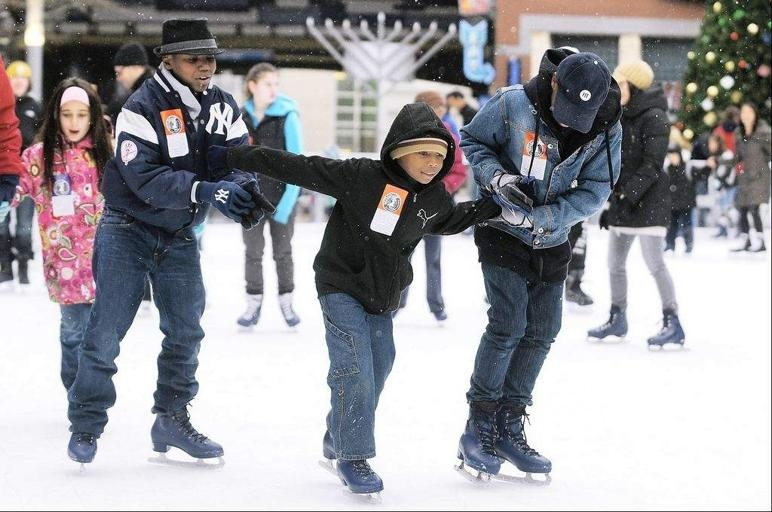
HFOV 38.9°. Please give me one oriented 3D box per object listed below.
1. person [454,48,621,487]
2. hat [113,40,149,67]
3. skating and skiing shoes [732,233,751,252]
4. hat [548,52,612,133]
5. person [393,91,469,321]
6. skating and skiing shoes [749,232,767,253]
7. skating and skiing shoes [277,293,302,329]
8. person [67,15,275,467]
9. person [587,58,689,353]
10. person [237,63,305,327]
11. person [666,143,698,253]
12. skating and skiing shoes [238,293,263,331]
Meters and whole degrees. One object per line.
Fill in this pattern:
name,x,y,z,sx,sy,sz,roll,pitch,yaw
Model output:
person,1.010,-0.034,7.377,1.089,2.909,1.000,1,8,-2
hat,-2.179,-1.709,9.245,0.212,0.161,0.218,-6,9,17
skating and skiing shoes,4.217,-0.143,12.869,0.162,0.235,0.233,2,-15,10
hat,1.222,-1.024,6.837,0.334,0.475,0.140,6,9,12
person,0.465,-0.364,9.892,0.681,2.164,0.909,1,2,1
skating and skiing shoes,4.402,-0.146,12.929,0.213,0.291,0.110,-5,-37,11
skating and skiing shoes,-0.865,0.465,9.453,0.128,0.271,0.378,-16,14,-8
person,-1.384,-0.231,7.137,0.982,3.396,1.167,3,9,16
person,1.977,-0.442,9.059,0.780,2.434,0.779,-9,10,-39
person,-1.114,-0.477,9.732,0.696,2.574,0.830,-2,27,-7
person,2.988,-0.570,11.055,0.376,1.272,0.343,-2,-20,8
skating and skiing shoes,-1.151,0.481,9.454,0.133,0.285,0.397,7,21,9
